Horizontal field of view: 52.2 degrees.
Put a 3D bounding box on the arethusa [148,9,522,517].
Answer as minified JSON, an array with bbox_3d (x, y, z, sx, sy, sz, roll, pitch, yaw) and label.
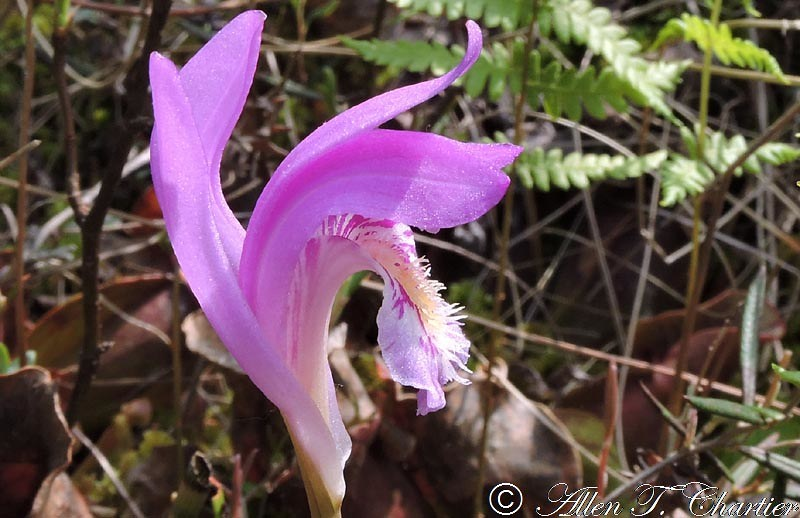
[{"bbox_3d":[-0.115,-0.004,1.711,0.711,1.040,0.289,-11,18,7],"label":"arethusa"}]
